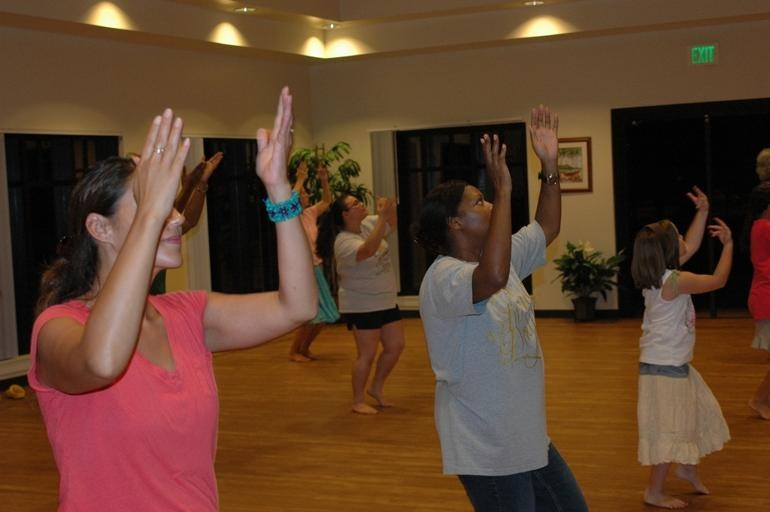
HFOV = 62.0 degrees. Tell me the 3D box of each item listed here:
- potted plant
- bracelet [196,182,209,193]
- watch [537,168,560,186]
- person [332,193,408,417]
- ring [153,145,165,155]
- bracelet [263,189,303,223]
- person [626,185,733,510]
[{"bbox_3d":[2.782,0.361,8.755,0.895,1.013,0.918,-6,9,-41],"label":"potted plant"},{"bbox_3d":[-1.295,-0.484,4.532,0.067,0.072,0.070,-1,0,1],"label":"bracelet"},{"bbox_3d":[0.717,-0.361,2.783,0.084,0.100,0.091,2,-4,15],"label":"watch"},{"bbox_3d":[-0.143,0.422,5.486,0.587,1.861,1.089,-1,6,-5],"label":"person"},{"bbox_3d":[-0.537,-0.249,1.514,0.017,0.018,0.023,-2,-10,6],"label":"ring"},{"bbox_3d":[-0.290,-0.143,1.769,0.082,0.060,0.086,-7,14,-7],"label":"bracelet"},{"bbox_3d":[1.770,0.541,3.853,0.858,1.806,0.542,-5,7,-35],"label":"person"}]
